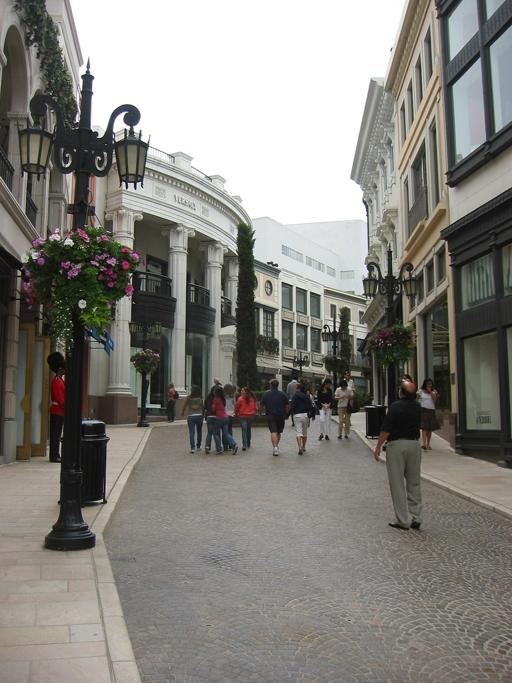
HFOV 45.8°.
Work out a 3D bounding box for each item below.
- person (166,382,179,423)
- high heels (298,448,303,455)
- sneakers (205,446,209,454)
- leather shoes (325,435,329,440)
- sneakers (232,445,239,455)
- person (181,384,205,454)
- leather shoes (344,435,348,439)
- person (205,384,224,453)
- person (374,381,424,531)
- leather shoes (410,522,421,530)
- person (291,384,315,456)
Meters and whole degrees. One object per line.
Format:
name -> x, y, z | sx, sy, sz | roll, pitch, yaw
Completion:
person -> -4.109, 3.027, 29.531 | 0.479, 1.796, 2.707 | 1, -6, -8
high heels -> 1.093, 2.739, 14.967 | 0.088, 0.109, 0.088 | -3, -5, 36
sneakers -> -1.254, 2.769, 15.338 | 0.052, 0.198, 0.081 | 0, 31, 2
leather shoes -> 2.194, 2.974, 18.714 | 0.103, 0.240, 0.115 | -1, 1, 9
sneakers -> -0.542, 2.824, 15.460 | 0.088, 0.130, 0.302 | -1, -48, -23
person -> -1.680, 2.084, 16.268 | 0.484, 1.704, 2.265 | 1, -6, -7
leather shoes -> 2.898, 3.071, 19.346 | 0.080, 0.102, 0.165 | -4, -7, 6
person -> -1.106, 2.001, 15.934 | 0.466, 1.821, 1.501 | 1, -6, -3
person -> 1.752, 1.340, 7.268 | 0.504, 1.693, 0.671 | 0, -6, 7
leather shoes -> 1.849, 2.148, 7.018 | 0.105, 0.074, 0.108 | 3, -14, -8
person -> 1.158, 1.982, 15.644 | 0.574, 1.789, 1.765 | 0, -6, 4
